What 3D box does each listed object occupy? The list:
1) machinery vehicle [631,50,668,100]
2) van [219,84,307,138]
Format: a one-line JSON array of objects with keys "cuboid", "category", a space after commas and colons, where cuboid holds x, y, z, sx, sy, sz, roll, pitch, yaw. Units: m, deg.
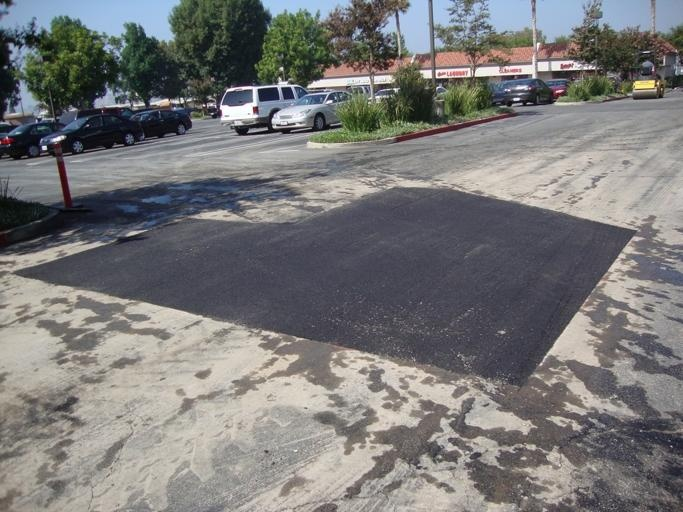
[{"cuboid": [23.921, -14.116, 36.146, 1.648, 3.429, 5.629, 4, 20, 31], "category": "machinery vehicle"}, {"cuboid": [-3.991, -8.047, 24.946, 2.146, 1.735, 4.104, 12, 30, 36], "category": "van"}]
